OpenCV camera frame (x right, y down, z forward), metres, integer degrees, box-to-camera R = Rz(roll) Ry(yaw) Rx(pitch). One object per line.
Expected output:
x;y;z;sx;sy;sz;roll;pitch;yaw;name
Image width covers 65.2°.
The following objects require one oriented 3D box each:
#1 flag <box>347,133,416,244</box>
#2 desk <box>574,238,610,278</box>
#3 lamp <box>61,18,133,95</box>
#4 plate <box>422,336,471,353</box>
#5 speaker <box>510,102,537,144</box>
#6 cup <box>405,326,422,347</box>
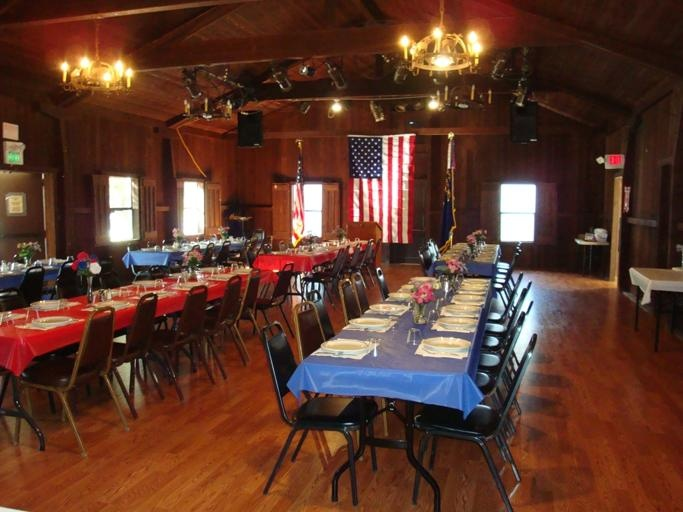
1.120;-1.847;14.837;1.793;3.016;0.227;0;6;15;flag
6.153;-0.069;13.317;0.915;0.624;0.574;1;6;-12;desk
-3.162;-2.618;6.964;0.599;0.872;0.598;-7;9;-37;lamp
0.777;0.660;3.982;0.348;0.043;0.356;-1;5;13;plate
3.731;-2.664;10.844;0.468;0.896;0.462;1;-8;21;speaker
0.551;0.627;4.110;0.109;0.119;0.116;2;7;0;cup
